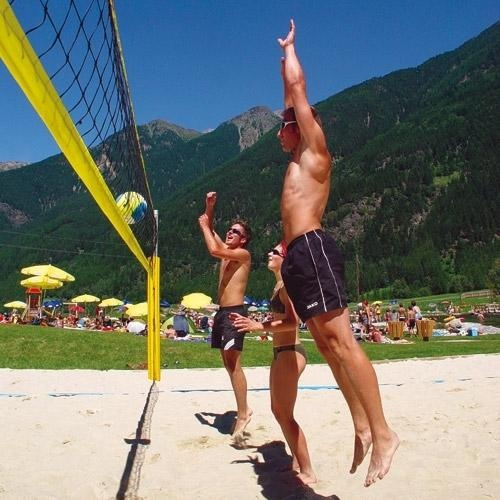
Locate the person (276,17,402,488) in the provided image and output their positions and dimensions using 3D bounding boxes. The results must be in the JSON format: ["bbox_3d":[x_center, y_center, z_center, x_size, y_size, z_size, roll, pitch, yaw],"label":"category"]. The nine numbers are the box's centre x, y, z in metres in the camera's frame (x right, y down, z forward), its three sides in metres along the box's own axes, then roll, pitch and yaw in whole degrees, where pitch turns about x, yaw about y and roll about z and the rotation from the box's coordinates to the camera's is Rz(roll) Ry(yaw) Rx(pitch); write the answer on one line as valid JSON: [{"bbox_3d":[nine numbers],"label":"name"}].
[{"bbox_3d":[0.440,-0.131,2.841,0.596,2.683,0.447,-5,-6,23],"label":"person"}]

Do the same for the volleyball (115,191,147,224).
[{"bbox_3d":[-1.087,-0.359,4.934,0.255,0.402,0.308,-2,13,-5],"label":"volleyball"}]

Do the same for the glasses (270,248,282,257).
[{"bbox_3d":[0.206,0.027,3.757,0.040,0.018,0.054,9,-40,34],"label":"glasses"}]
